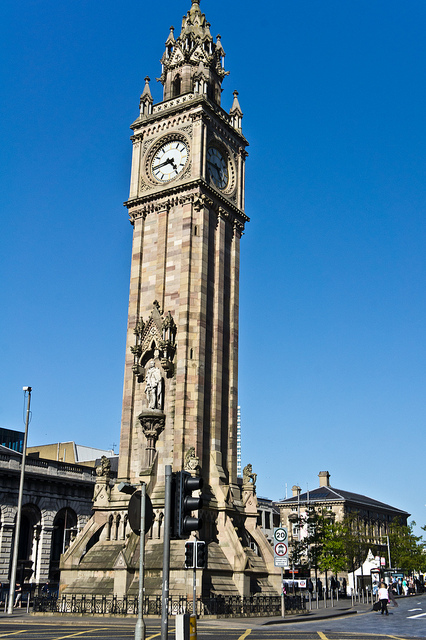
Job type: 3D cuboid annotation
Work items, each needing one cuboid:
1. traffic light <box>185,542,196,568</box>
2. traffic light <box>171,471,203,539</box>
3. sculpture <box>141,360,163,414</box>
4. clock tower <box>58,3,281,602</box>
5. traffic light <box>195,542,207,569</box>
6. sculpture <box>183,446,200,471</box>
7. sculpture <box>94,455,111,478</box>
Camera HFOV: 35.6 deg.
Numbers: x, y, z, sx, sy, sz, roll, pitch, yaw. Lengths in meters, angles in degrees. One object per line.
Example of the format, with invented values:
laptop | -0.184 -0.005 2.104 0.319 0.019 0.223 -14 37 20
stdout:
traffic light | -0.428 4.431 12.482 0.181 0.435 0.267 2 -23 -6
traffic light | -0.432 2.909 10.549 0.364 1.101 0.786 16 -28 -35
sculpture | -3.709 4.208 41.402 1.102 3.542 0.714 2 -23 -5
clock tower | -2.357 -5.641 46.544 10.673 46.457 7.656 4 -23 -9
traffic light | -0.250 4.441 12.482 0.195 0.435 0.268 1 -23 -4
sculpture | -1.303 8.085 38.405 0.854 1.571 1.658 2 -24 -6
sculpture | -7.038 9.421 42.804 0.753 1.619 3.038 4 -24 -9
